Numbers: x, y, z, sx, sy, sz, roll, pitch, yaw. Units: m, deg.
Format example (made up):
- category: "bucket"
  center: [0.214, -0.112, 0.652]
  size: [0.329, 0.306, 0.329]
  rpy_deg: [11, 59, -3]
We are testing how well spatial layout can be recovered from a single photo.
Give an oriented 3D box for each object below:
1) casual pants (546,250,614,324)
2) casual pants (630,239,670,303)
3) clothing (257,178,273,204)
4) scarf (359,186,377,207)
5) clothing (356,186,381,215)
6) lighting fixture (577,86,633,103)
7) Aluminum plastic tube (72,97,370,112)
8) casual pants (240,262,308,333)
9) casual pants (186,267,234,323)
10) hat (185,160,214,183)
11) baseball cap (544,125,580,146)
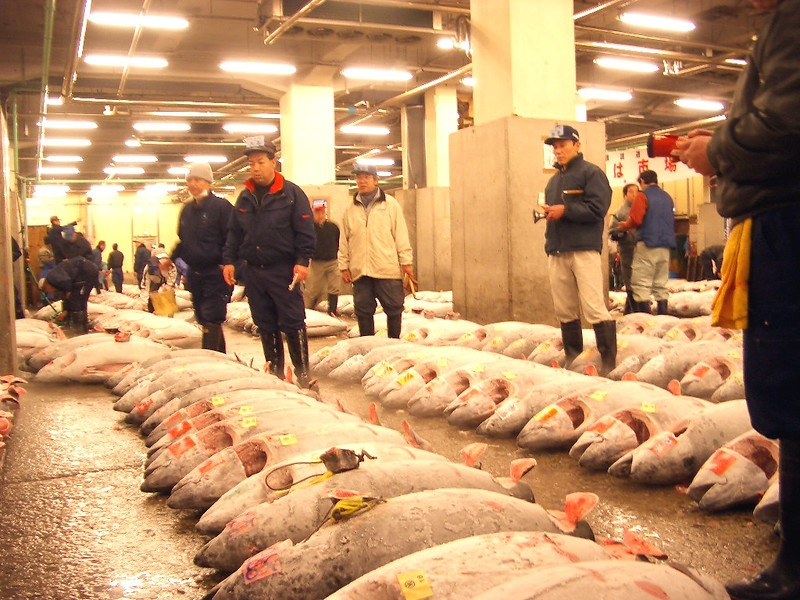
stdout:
- category: "casual pants"
  center: [1.590, -0.084, 5.442]
  size: [0.489, 0.764, 0.290]
  rpy_deg: [-6, 1, 39]
- category: "casual pants"
  center: [3.312, -0.315, 7.986]
  size: [0.542, 0.850, 0.297]
  rpy_deg: [1, 1, -5]
- category: "clothing"
  center: [-1.176, -0.946, 5.248]
  size: [0.125, 0.195, 0.162]
  rpy_deg: [6, 2, -45]
- category: "scarf"
  center: [-0.350, -1.126, 6.678]
  size: [0.178, 0.113, 0.209]
  rpy_deg: [-9, -1, 8]
- category: "clothing"
  center: [-0.354, -1.113, 6.720]
  size: [0.238, 0.270, 0.153]
  rpy_deg: [-2, 5, 0]
- category: "lighting fixture"
  center: [4.875, -4.989, 14.670]
  size: [2.051, 0.302, 0.224]
  rpy_deg: [-3, 4, -24]
- category: "Aluminum plastic tube"
  center: [-4.698, -5.061, 15.656]
  size: [8.114, 0.292, 0.338]
  rpy_deg: [-8, 14, -27]
- category: "casual pants"
  center: [-1.096, 0.012, 5.382]
  size: [0.585, 0.811, 0.326]
  rpy_deg: [-7, -1, 21]
- category: "casual pants"
  center: [-1.800, -0.051, 6.093]
  size: [0.260, 0.652, 0.338]
  rpy_deg: [-10, 35, -20]
- category: "hat"
  center: [-1.945, -1.264, 5.954]
  size: [0.204, 0.185, 0.262]
  rpy_deg: [-1, 7, -23]
- category: "baseball cap"
  center: [1.466, -1.498, 5.412]
  size: [0.329, 0.138, 0.226]
  rpy_deg: [4, -3, -25]
